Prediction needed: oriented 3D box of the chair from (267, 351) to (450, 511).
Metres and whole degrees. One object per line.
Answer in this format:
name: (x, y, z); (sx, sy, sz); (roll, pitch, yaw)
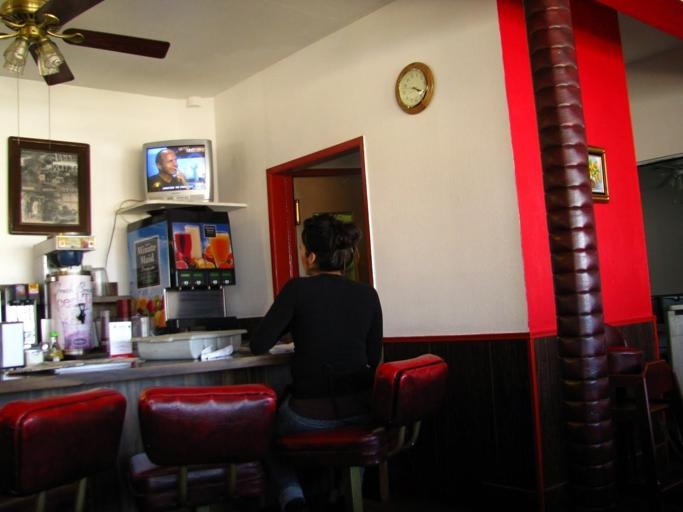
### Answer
chair: (0.218, 0.781, 2.690); (0.823, 0.825, 0.610); (-4, -9, 25)

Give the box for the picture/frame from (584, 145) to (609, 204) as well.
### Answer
picture/frame: (1.972, -0.626, 4.141); (0.253, 0.419, 0.055); (-5, 0, -43)

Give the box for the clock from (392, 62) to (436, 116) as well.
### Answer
clock: (0.536, -1.204, 3.910); (0.052, 0.386, 0.375); (-1, 13, -44)

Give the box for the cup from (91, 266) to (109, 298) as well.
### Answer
cup: (-2.101, 0.221, 4.715); (0.118, 0.256, 0.175); (-4, 1, -24)

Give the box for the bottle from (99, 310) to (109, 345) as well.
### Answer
bottle: (-1.508, 0.465, 3.467); (0.058, 0.227, 0.175); (-4, 1, -26)
